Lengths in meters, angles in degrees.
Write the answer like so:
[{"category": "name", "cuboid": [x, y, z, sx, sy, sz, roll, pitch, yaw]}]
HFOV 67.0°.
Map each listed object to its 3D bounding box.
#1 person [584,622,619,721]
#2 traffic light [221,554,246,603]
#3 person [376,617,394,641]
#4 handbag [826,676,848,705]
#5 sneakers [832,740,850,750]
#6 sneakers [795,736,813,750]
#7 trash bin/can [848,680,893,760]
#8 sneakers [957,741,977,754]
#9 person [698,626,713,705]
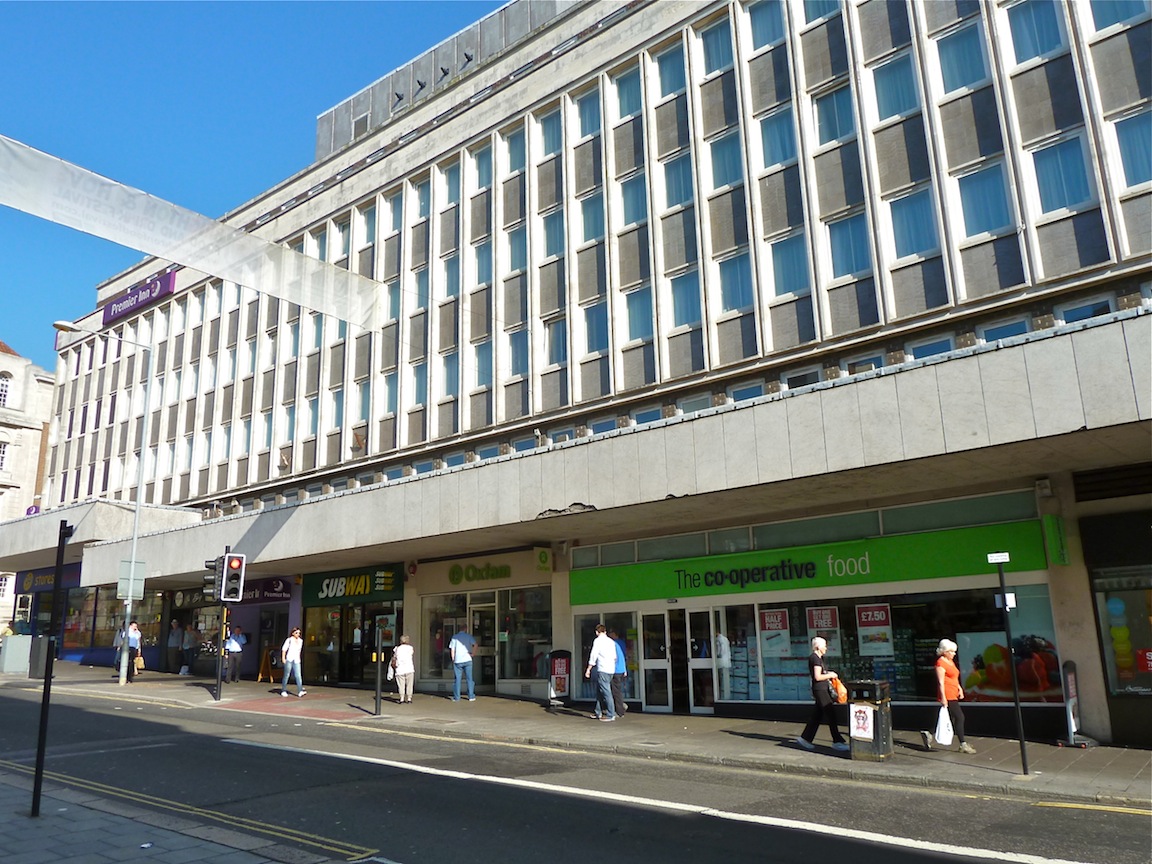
[{"category": "person", "cuboid": [0.611, 5.600, 20.469, 0.628, 2.128, 1.498, 0, -9, 2]}, {"category": "traffic light", "cuboid": [-9.055, 3.782, 22.792, 0.470, 1.202, 0.666, -1, -9, 7]}, {"category": "person", "cuboid": [-6.316, 6.474, 28.651, 0.282, 0.952, 0.934, 8, -12, -40]}, {"category": "handbag", "cuboid": [4.771, 4.674, 15.843, 0.321, 0.480, 0.531, -3, -10, 17]}, {"category": "sneakers", "cuboid": [4.749, 5.628, 15.630, 0.264, 0.099, 0.389, -3, -10, 20]}, {"category": "sneakers", "cuboid": [4.235, 5.816, 16.283, 0.139, 0.184, 0.456, -1, -23, -15]}, {"category": "trash bin/can", "cuboid": [5.033, 4.931, 14.958, 0.690, 1.254, 0.597, -1, -9, 11]}, {"category": "sneakers", "cuboid": [6.878, 5.582, 15.403, 0.139, 0.175, 0.405, 3, -20, -14]}, {"category": "person", "cuboid": [3.178, 5.791, 21.227, 0.116, 1.843, 0.392, 8, -12, -40]}]
